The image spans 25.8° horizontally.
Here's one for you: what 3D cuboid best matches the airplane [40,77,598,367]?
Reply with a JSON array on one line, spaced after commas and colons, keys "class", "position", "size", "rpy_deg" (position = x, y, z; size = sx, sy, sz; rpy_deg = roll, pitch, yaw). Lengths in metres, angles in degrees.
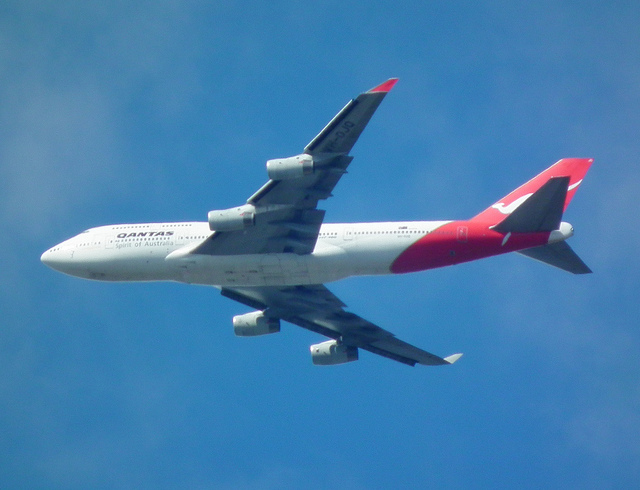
[{"class": "airplane", "position": [1.076, -1.752, 61.785], "size": [19.933, 12.011, 11.961], "rpy_deg": [-7, -30, 22]}]
